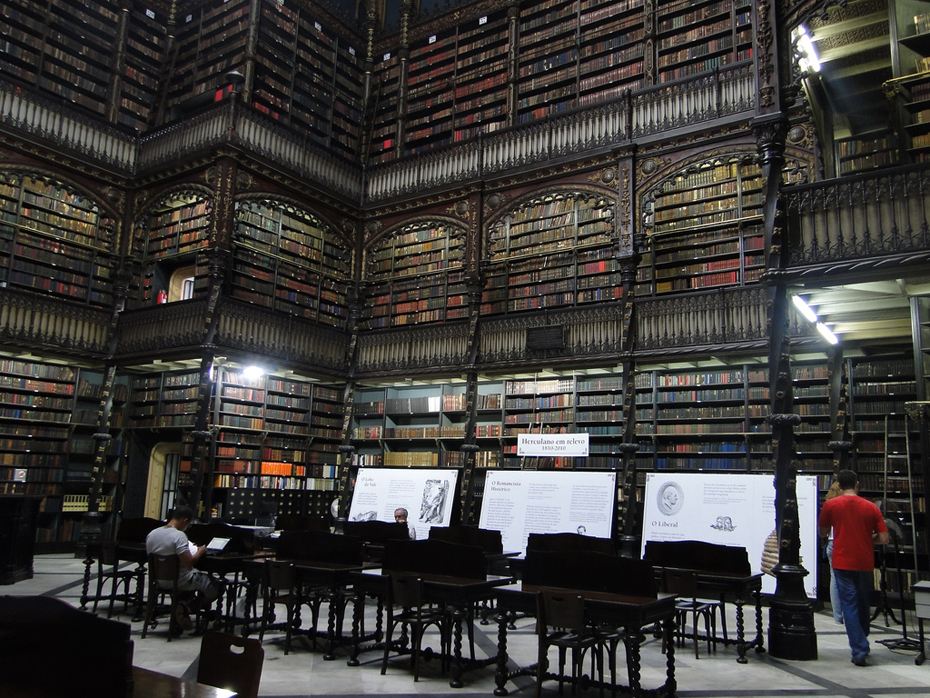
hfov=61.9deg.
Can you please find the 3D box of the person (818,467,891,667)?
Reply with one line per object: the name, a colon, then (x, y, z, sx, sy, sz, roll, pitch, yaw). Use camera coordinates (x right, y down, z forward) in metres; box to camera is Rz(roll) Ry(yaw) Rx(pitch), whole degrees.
person: (4.147, 2.284, 8.185, 0.628, 1.982, 0.351, -4, -16, 20)
